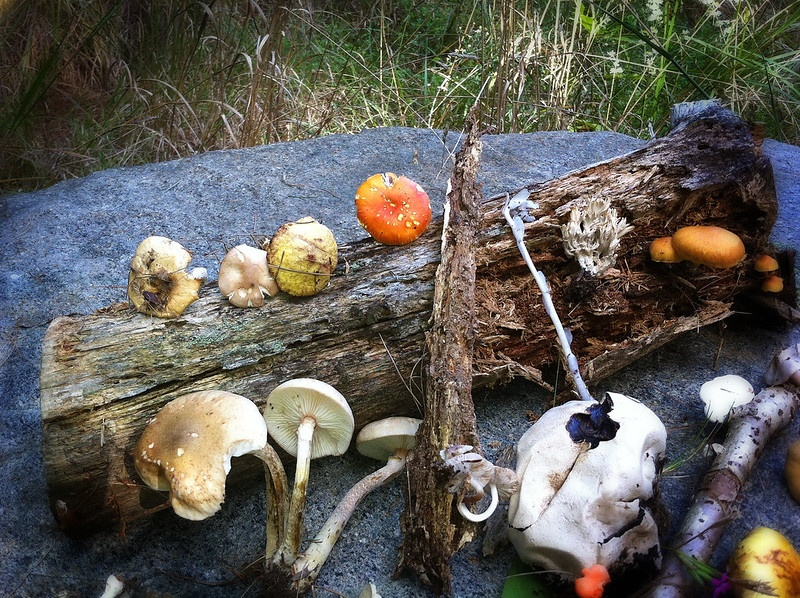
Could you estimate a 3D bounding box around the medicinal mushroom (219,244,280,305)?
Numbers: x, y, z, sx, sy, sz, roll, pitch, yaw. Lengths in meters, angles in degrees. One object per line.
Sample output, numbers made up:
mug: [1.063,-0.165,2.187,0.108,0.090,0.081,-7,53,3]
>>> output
medicinal mushroom: [-1.068,-0.163,5.059,0.378,0.111,0.414,-35,103,-9]

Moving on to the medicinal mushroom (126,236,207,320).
medicinal mushroom: [-1.616,-0.140,5.227,0.532,0.153,0.560,27,85,2]

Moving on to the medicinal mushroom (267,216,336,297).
medicinal mushroom: [-0.682,-0.300,5.197,0.501,0.278,0.491,-28,67,-13]
